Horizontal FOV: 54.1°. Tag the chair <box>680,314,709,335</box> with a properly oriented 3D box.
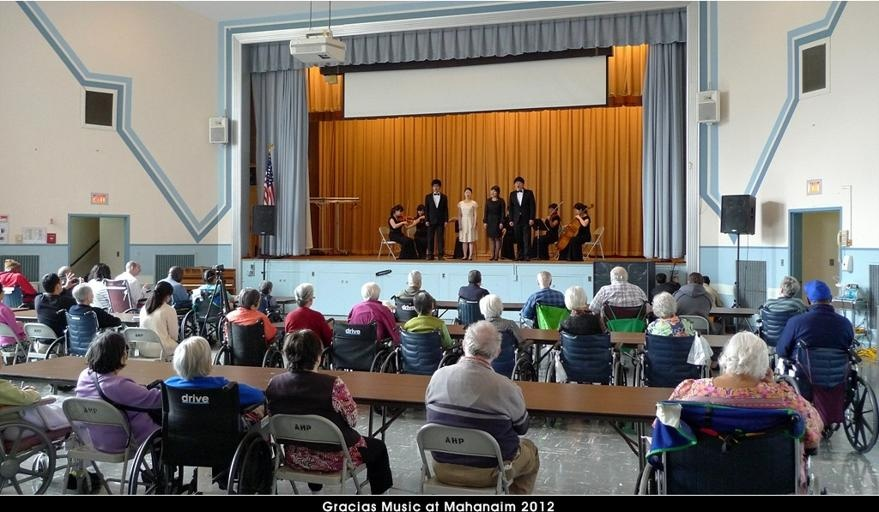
[{"bbox_3d":[3.979,1.073,13.359,0.305,0.565,0.364,-1,-5,8],"label":"chair"}]

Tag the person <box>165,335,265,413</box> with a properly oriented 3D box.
[{"bbox_3d":[-2.827,1.553,10.883,0.804,1.202,1.183,8,36,0],"label":"person"}]

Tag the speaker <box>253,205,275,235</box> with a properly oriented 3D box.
[{"bbox_3d":[-4.063,-0.858,20.157,0.530,0.667,0.292,-2,3,-20],"label":"speaker"}]

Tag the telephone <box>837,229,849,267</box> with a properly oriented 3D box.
[{"bbox_3d":[7.698,-0.124,16.357,0.119,0.768,0.212,-3,3,-26],"label":"telephone"}]

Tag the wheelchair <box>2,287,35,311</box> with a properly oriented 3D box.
[{"bbox_3d":[-7.772,0.780,16.062,0.445,0.587,0.417,0,1,-2],"label":"wheelchair"}]

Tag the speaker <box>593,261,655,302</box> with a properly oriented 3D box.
[{"bbox_3d":[4.003,0.761,18.396,1.308,1.020,0.793,-1,-3,26],"label":"speaker"}]

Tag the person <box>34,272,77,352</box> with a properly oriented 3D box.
[{"bbox_3d":[-6.345,0.938,14.303,0.595,1.458,0.778,7,20,-3],"label":"person"}]

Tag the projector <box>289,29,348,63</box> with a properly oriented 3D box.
[{"bbox_3d":[-2.142,-3.819,15.984,0.752,0.538,0.756,2,4,19],"label":"projector"}]

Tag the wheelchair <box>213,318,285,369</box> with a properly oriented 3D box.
[{"bbox_3d":[-2.929,1.304,13.535,0.635,0.956,0.916,2,11,11],"label":"wheelchair"}]

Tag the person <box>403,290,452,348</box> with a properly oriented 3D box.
[{"bbox_3d":[-0.019,0.880,13.148,0.603,0.917,0.899,3,37,8],"label":"person"}]

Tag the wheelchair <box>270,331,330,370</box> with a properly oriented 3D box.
[{"bbox_3d":[-1.692,1.176,10.987,0.411,0.525,0.530,0,7,-2],"label":"wheelchair"}]

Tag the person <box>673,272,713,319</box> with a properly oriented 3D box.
[{"bbox_3d":[4.432,0.707,14.946,0.495,1.096,0.623,10,-15,24],"label":"person"}]

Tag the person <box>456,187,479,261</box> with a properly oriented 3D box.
[{"bbox_3d":[0.657,-0.717,19.538,0.430,1.603,1.009,-1,3,1],"label":"person"}]

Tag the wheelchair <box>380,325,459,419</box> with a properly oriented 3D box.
[{"bbox_3d":[-0.279,1.668,12.900,1.010,1.508,1.412,4,12,22],"label":"wheelchair"}]

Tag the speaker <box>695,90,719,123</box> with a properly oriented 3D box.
[{"bbox_3d":[5.789,-3.199,18.442,0.460,0.688,0.219,0,3,15],"label":"speaker"}]

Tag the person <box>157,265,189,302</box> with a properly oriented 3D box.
[{"bbox_3d":[-4.925,0.556,16.032,0.716,0.754,0.400,19,18,36],"label":"person"}]

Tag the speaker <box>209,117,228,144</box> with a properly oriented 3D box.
[{"bbox_3d":[-5.241,-2.995,20.536,0.468,0.640,0.268,-2,3,-10],"label":"speaker"}]

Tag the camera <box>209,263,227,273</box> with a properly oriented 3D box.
[{"bbox_3d":[-4.713,0.253,18.357,0.297,0.138,0.233,0,1,0],"label":"camera"}]

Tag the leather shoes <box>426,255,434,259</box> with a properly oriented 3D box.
[{"bbox_3d":[-0.166,0.027,19.762,0.115,0.114,0.113,0,-1,-7],"label":"leather shoes"}]

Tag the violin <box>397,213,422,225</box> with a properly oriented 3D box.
[{"bbox_3d":[-0.713,-0.869,20.339,0.538,0.170,0.269,-1,0,-18],"label":"violin"}]

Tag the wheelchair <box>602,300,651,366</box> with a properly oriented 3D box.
[{"bbox_3d":[3.029,1.216,13.845,0.714,1.100,1.052,1,11,12],"label":"wheelchair"}]

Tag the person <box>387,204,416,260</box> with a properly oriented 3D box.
[{"bbox_3d":[-0.818,-0.569,20.286,0.503,1.221,0.813,-2,3,-18],"label":"person"}]

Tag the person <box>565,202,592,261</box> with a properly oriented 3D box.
[{"bbox_3d":[3.110,-0.546,19.154,0.496,1.245,0.737,1,4,36],"label":"person"}]

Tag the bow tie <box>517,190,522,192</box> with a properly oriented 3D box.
[{"bbox_3d":[1.812,-1.424,18.987,0.113,0.038,0.023,-1,3,2],"label":"bow tie"}]

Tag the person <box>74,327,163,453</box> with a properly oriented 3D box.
[{"bbox_3d":[-4.206,1.729,11.539,1.114,1.584,1.593,1,10,-5],"label":"person"}]

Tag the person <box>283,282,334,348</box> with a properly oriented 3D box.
[{"bbox_3d":[-2.025,0.970,13.403,0.736,1.112,0.785,-2,4,-24],"label":"person"}]

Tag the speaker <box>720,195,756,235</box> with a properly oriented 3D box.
[{"bbox_3d":[6.134,-0.849,17.559,0.723,1.045,0.548,-3,-5,43],"label":"speaker"}]

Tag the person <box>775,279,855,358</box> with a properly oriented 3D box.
[{"bbox_3d":[5.473,1.064,12.493,1.085,1.597,0.854,2,4,6],"label":"person"}]

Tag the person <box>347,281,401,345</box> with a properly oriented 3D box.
[{"bbox_3d":[-1.032,0.942,13.543,0.873,1.025,0.543,0,7,21],"label":"person"}]

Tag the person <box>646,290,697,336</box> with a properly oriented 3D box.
[{"bbox_3d":[3.352,0.927,12.603,0.852,0.813,0.426,-2,-12,-15],"label":"person"}]

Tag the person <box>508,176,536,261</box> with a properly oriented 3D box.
[{"bbox_3d":[1.869,-0.839,19.303,0.589,1.822,0.834,-1,3,4],"label":"person"}]

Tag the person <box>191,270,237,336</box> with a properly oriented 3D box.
[{"bbox_3d":[-4.363,1.030,16.153,0.785,1.269,1.080,-2,30,-18],"label":"person"}]

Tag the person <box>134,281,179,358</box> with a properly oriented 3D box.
[{"bbox_3d":[-4.438,0.935,13.828,0.600,1.065,0.645,16,13,22],"label":"person"}]
